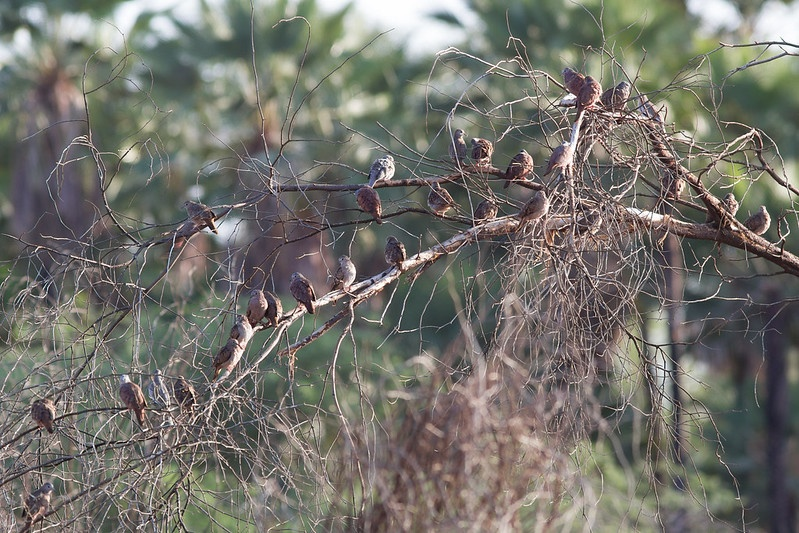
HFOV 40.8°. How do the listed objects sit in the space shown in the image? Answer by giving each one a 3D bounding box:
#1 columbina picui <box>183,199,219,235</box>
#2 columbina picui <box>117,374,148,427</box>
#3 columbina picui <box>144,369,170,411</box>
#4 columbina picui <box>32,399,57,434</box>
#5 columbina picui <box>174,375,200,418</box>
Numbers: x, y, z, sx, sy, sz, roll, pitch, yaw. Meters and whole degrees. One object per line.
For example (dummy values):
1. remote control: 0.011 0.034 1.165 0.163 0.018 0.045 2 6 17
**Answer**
1. columbina picui: -1.750 -0.461 9.476 0.425 0.252 0.192 7 1 32
2. columbina picui: -2.310 1.135 9.299 0.179 0.263 0.490 -1 19 -45
3. columbina picui: -2.122 1.122 9.368 0.162 0.183 0.438 -10 59 -4
4. columbina picui: -3.083 1.277 9.220 0.141 0.203 0.335 -14 12 -15
5. columbina picui: -1.883 1.126 9.439 0.166 0.236 0.474 7 13 -30
